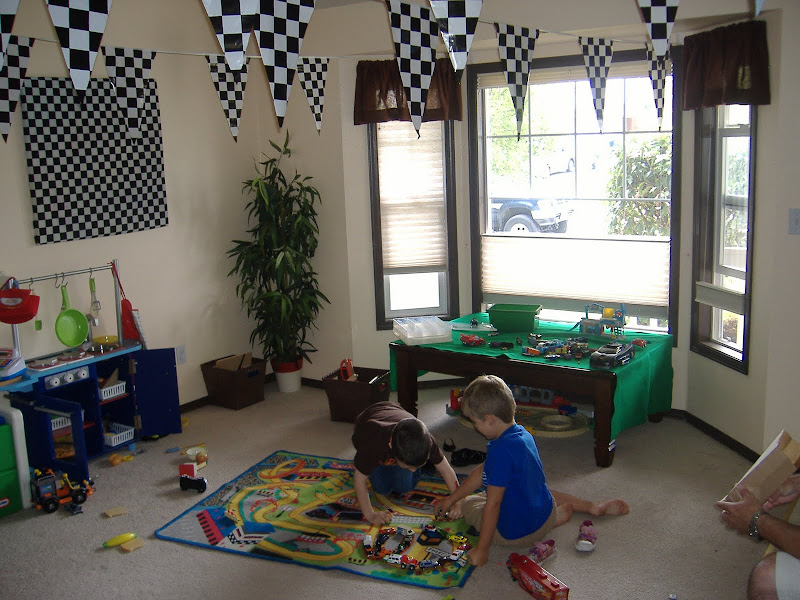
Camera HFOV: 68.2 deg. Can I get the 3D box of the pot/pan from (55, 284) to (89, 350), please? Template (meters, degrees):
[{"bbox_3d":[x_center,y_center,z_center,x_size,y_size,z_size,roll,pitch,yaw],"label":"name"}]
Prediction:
[{"bbox_3d":[-2.512,0.136,4.537,0.091,0.496,0.259,-11,-7,39],"label":"pot/pan"}]

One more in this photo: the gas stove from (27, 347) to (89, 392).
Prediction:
[{"bbox_3d":[-2.518,0.509,4.416,0.432,0.214,0.334,-13,18,-38],"label":"gas stove"}]

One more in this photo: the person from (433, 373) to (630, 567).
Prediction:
[{"bbox_3d":[0.748,0.928,3.539,1.110,0.983,0.712,-4,10,-2],"label":"person"}]

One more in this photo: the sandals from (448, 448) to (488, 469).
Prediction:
[{"bbox_3d":[0.516,1.176,4.483,0.257,0.113,0.163,1,4,-10],"label":"sandals"}]

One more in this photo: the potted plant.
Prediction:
[{"bbox_3d":[-1.173,-0.347,5.717,0.952,2.514,0.792,11,18,43],"label":"potted plant"}]

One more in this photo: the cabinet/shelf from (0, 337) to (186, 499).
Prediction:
[{"bbox_3d":[-2.389,0.832,4.661,0.788,1.014,1.324,5,15,24],"label":"cabinet/shelf"}]

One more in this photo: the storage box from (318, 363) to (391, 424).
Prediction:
[{"bbox_3d":[-0.392,0.795,5.226,0.489,0.411,0.435,1,7,22],"label":"storage box"}]

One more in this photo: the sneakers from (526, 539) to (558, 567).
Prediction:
[{"bbox_3d":[0.810,1.436,3.395,0.074,0.087,0.201,3,6,33],"label":"sneakers"}]

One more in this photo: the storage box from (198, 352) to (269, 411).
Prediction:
[{"bbox_3d":[-1.603,0.733,5.695,0.515,0.431,0.440,3,8,36],"label":"storage box"}]

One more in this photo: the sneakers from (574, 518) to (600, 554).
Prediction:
[{"bbox_3d":[1.114,1.422,3.542,0.079,0.086,0.204,-1,-1,12],"label":"sneakers"}]
